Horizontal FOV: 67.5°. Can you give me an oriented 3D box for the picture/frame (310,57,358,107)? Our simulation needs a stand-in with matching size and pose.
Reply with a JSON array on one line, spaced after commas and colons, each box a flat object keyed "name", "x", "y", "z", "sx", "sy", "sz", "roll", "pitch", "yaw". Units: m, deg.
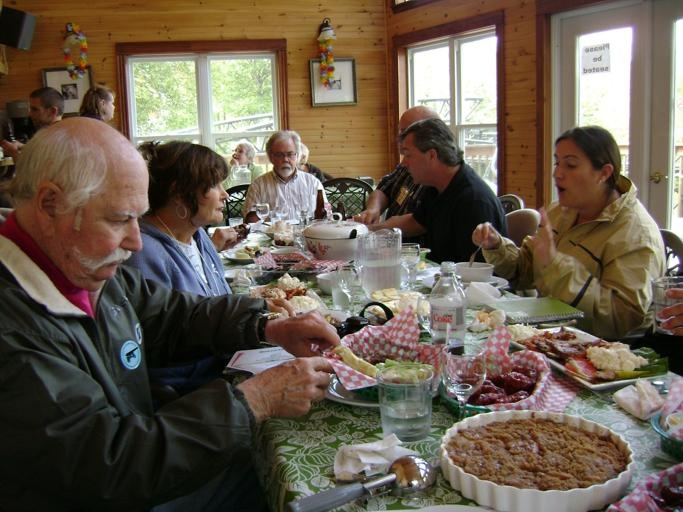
[{"name": "picture/frame", "x": -0.076, "y": -2.397, "z": 7.103, "sx": 0.614, "sy": 0.516, "sz": 0.064, "roll": -16, "pitch": 19, "yaw": -33}]

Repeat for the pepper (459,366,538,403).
[{"name": "pepper", "x": 0.386, "y": 0.313, "z": 1.203, "sx": 0.114, "sy": 0.036, "sz": 0.080, "roll": -18, "pitch": 10, "yaw": -6}]

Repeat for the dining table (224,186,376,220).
[{"name": "dining table", "x": -0.347, "y": -0.494, "z": 4.687, "sx": 0.708, "sy": 0.231, "sz": 0.599, "roll": -1, "pitch": 3, "yaw": -30}]

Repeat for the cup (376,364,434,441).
[{"name": "cup", "x": 0.127, "y": 0.308, "z": 1.128, "sx": 0.155, "sy": 0.154, "sz": 0.146, "roll": -1, "pitch": 8, "yaw": 0}]

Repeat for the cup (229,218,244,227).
[{"name": "cup", "x": -0.829, "y": -0.269, "z": 3.972, "sx": 0.102, "sy": 0.049, "sz": 0.129, "roll": -1, "pitch": 1, "yaw": -5}]

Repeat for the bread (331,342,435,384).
[{"name": "bread", "x": 0.087, "y": 0.277, "z": 1.273, "sx": 0.142, "sy": 0.045, "sz": 0.130, "roll": -4, "pitch": 12, "yaw": -12}]

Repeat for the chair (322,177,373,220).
[{"name": "chair", "x": 0.072, "y": -0.632, "z": 5.348, "sx": 0.555, "sy": 0.508, "sz": 0.578, "roll": 0, "pitch": 3, "yaw": 0}]

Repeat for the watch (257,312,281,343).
[{"name": "watch", "x": -0.224, "y": 0.218, "z": 1.564, "sx": 0.078, "sy": 0.039, "sz": 0.082, "roll": -9, "pitch": 53, "yaw": 8}]
